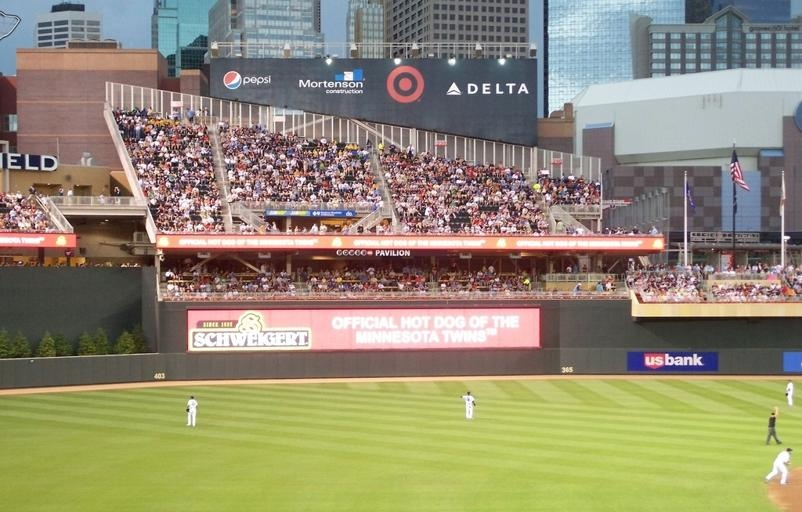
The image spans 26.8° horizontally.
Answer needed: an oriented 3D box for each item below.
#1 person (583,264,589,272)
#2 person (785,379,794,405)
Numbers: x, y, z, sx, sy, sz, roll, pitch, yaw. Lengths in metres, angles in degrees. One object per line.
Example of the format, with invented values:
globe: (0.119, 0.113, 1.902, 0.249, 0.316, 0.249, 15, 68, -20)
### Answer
person: (19.469, 1.071, 176.955, 0.471, 0.699, 0.487, -1, 6, -3)
person: (37.127, 12.794, 160.522, 0.662, 2.230, 1.579, 0, 6, 11)
